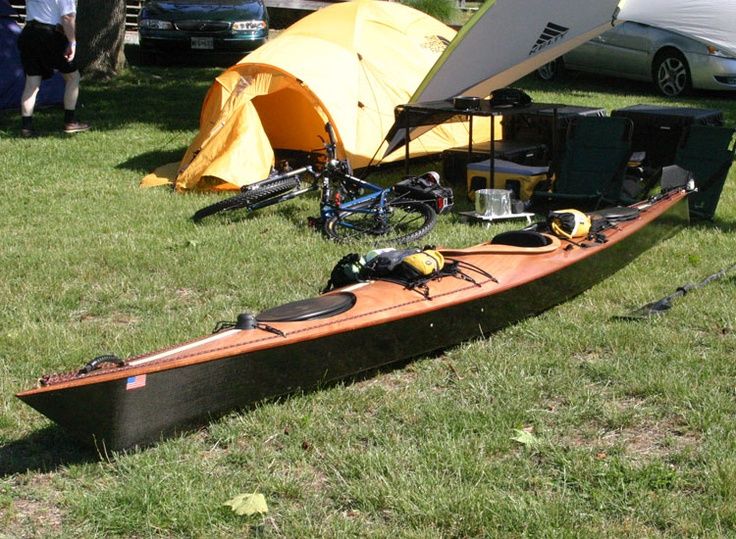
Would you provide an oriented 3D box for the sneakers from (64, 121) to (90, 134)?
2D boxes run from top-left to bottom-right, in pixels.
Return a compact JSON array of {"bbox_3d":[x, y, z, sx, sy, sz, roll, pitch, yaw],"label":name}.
[{"bbox_3d":[-3.869,-1.744,11.431,0.140,0.100,0.315,11,15,37],"label":"sneakers"}]

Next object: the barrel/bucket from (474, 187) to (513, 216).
[{"bbox_3d":[1.166,-0.555,8.065,0.335,0.150,0.294,0,4,6],"label":"barrel/bucket"}]

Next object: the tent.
[{"bbox_3d":[-0.392,-1.902,9.867,3.540,1.183,2.577,-8,15,-42],"label":"tent"}]

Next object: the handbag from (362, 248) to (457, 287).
[{"bbox_3d":[0.283,0.037,6.019,0.481,0.127,0.332,-7,-2,36],"label":"handbag"}]

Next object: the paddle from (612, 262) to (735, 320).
[{"bbox_3d":[2.329,0.206,6.548,1.176,0.052,0.161,-17,6,-34],"label":"paddle"}]

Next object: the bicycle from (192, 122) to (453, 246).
[{"bbox_3d":[-0.318,-0.684,8.096,2.354,0.806,1.154,3,-4,7],"label":"bicycle"}]

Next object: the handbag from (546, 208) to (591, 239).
[{"bbox_3d":[1.578,-0.294,6.780,0.344,0.181,0.222,11,-10,5],"label":"handbag"}]
